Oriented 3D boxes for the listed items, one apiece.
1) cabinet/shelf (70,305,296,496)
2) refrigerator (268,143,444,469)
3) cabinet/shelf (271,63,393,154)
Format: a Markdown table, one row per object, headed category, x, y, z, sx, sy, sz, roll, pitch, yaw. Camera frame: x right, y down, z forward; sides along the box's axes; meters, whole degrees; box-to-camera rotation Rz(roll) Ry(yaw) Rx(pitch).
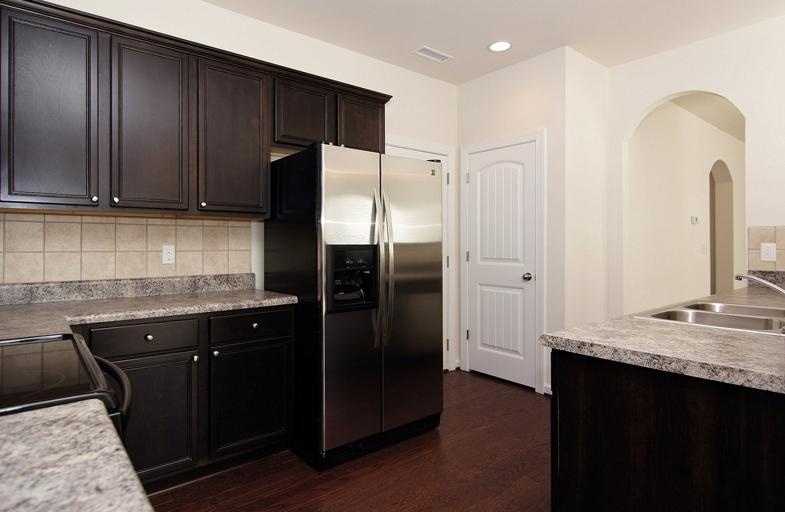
| category | x | y | z | sx | sy | sz | roll | pitch | yaw |
| --- | --- | --- | --- | --- | --- | --- | --- | --- | --- |
| cabinet/shelf | -1.191 | 0.798 | 2.935 | 1.237 | 1.025 | 0.516 | 0 | -2 | -38 |
| refrigerator | -0.155 | 0.268 | 3.670 | 1.206 | 2.074 | 0.513 | -9 | 15 | -32 |
| cabinet/shelf | -0.403 | -1.038 | 4.125 | 1.037 | 0.616 | 0.294 | 20 | 31 | 23 |
